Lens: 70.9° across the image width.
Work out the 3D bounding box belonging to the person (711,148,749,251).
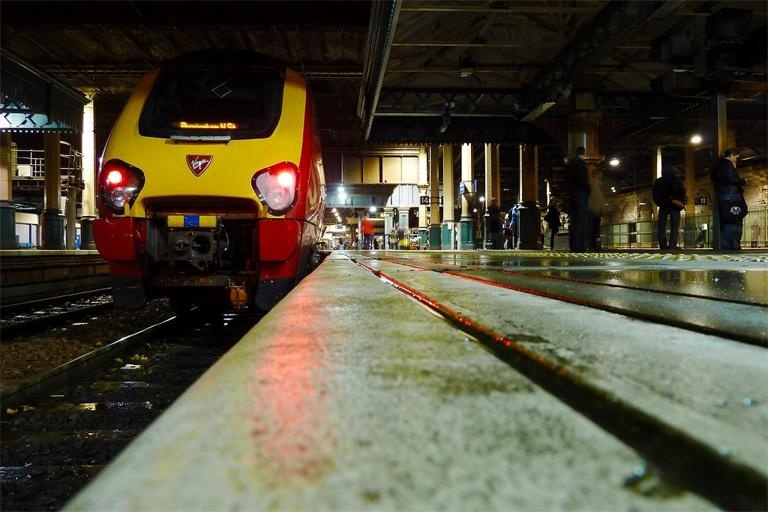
[{"bbox_3d":[6.970,-1.132,11.075,0.600,2.034,1.242,0,4,31],"label":"person"}]

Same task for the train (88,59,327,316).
[{"bbox_3d":[-2.010,-0.867,6.309,2.233,2.867,0.985,-2,3,-2],"label":"train"}]
